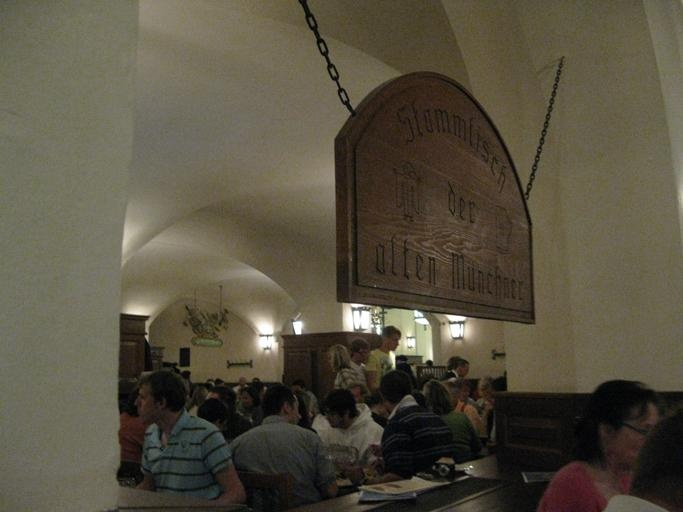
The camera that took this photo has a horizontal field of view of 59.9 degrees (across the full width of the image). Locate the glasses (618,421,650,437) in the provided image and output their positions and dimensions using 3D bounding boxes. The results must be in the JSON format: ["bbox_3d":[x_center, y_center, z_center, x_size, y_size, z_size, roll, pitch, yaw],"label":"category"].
[{"bbox_3d":[1.226,0.723,2.480,0.103,0.034,0.103,-8,-19,41],"label":"glasses"}]
